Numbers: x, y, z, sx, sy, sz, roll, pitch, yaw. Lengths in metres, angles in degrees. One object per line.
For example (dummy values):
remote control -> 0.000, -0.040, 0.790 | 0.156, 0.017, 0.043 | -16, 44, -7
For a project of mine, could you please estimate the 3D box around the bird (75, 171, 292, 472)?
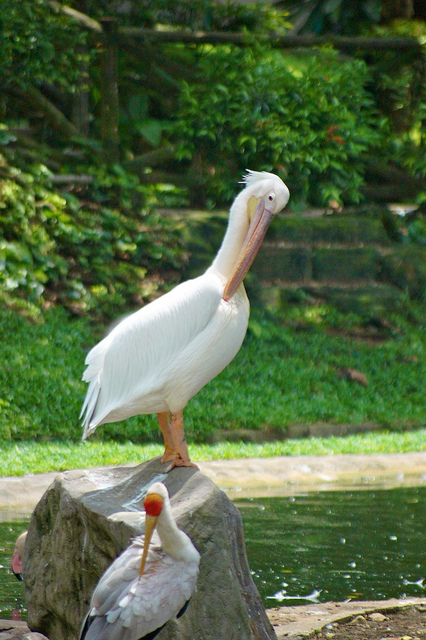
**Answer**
bird -> -0.188, -0.004, 8.191 | 1.293, 1.968, 0.770 | 1, 10, -16

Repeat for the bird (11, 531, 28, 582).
bird -> -1.315, 1.612, 8.398 | 0.113, 0.374, 0.140 | 0, 5, -33
